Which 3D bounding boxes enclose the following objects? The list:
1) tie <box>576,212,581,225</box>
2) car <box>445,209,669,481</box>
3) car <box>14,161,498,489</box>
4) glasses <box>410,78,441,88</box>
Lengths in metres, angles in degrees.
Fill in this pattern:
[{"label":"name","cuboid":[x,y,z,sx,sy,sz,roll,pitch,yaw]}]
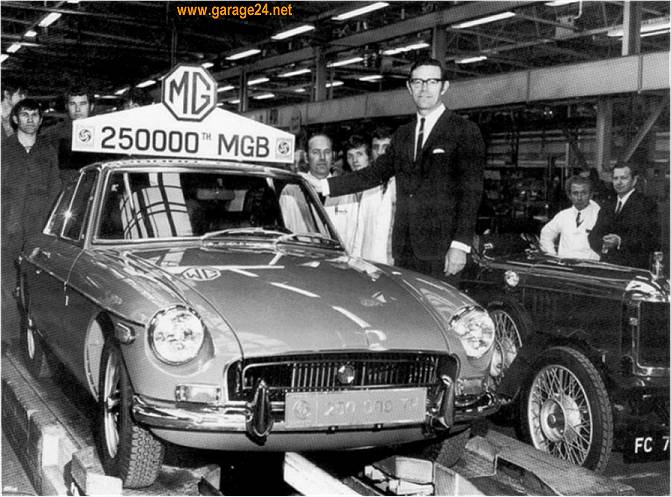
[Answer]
[{"label":"tie","cuboid":[1.996,-0.244,5.498,0.026,0.110,0.028,1,-34,26]},{"label":"car","cuboid":[1.514,0.691,4.846,0.871,0.860,1.578,1,2,-24]},{"label":"car","cuboid":[-0.918,0.330,4.608,1.573,1.267,3.058,3,-1,-24]},{"label":"glasses","cuboid":[0.607,-1.124,4.498,0.211,0.055,0.071,1,8,10]}]
